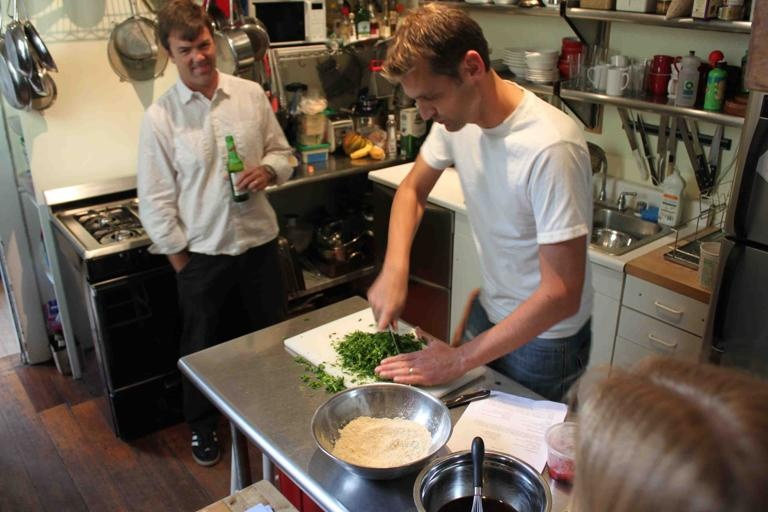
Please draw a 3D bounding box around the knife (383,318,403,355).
[{"bbox_3d":[0.044,0.312,2.106,0.027,0.010,0.190,-8,20,-8],"label":"knife"}]

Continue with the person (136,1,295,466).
[{"bbox_3d":[-0.913,-0.394,3.080,0.857,1.865,0.457,-15,28,-23],"label":"person"}]

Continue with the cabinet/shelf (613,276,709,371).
[{"bbox_3d":[1.274,0.277,2.549,0.288,0.449,0.245,-26,42,-35],"label":"cabinet/shelf"}]

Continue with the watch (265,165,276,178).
[{"bbox_3d":[-0.640,-0.478,3.161,0.015,0.060,0.060,-26,41,-5],"label":"watch"}]

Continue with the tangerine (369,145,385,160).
[{"bbox_3d":[-0.051,-0.773,4.235,0.089,0.066,0.118,-18,70,2],"label":"tangerine"}]

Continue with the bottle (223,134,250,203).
[{"bbox_3d":[-0.806,-0.478,3.030,0.097,0.366,0.182,-10,26,-13],"label":"bottle"}]

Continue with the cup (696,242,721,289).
[{"bbox_3d":[1.607,0.066,2.728,0.116,0.174,0.113,0,17,0],"label":"cup"}]

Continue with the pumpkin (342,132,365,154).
[{"bbox_3d":[-0.236,-0.861,4.255,0.114,0.130,0.108,29,36,12],"label":"pumpkin"}]

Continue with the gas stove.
[{"bbox_3d":[-1.641,-0.146,3.249,0.575,0.237,0.604,-21,52,-28],"label":"gas stove"}]

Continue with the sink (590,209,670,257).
[{"bbox_3d":[1.470,-0.107,3.421,0.330,0.171,0.410,-23,38,-29],"label":"sink"}]

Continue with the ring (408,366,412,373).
[{"bbox_3d":[0.090,0.399,1.944,0.017,0.016,0.019,-3,25,1],"label":"ring"}]

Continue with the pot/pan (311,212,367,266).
[{"bbox_3d":[-0.333,-0.113,4.351,0.447,0.316,0.243,-7,26,-7],"label":"pot/pan"}]

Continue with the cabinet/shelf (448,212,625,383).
[{"bbox_3d":[0.654,0.178,2.254,0.366,0.642,0.667,-16,29,-32],"label":"cabinet/shelf"}]

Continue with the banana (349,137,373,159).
[{"bbox_3d":[-0.176,-0.804,4.228,0.147,0.069,0.156,23,67,22],"label":"banana"}]

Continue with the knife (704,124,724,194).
[{"bbox_3d":[1.842,-0.547,3.110,0.071,0.434,0.038,17,27,36],"label":"knife"}]

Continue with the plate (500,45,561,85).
[{"bbox_3d":[0.930,-1.197,3.565,0.325,0.139,0.321,-19,30,-36],"label":"plate"}]

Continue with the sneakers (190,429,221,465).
[{"bbox_3d":[-1.058,1.099,3.284,0.099,0.114,0.267,-16,35,-28],"label":"sneakers"}]

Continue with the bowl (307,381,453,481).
[{"bbox_3d":[-0.031,0.528,1.702,0.486,0.142,0.491,-7,11,1],"label":"bowl"}]

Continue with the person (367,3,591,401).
[{"bbox_3d":[0.351,-0.113,2.048,0.840,1.493,0.783,7,27,21],"label":"person"}]

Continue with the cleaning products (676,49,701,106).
[{"bbox_3d":[1.563,-0.900,2.881,0.095,0.232,0.146,8,28,23],"label":"cleaning products"}]

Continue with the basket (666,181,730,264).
[{"bbox_3d":[1.714,-0.178,3.050,0.569,0.225,0.163,-33,40,-29],"label":"basket"}]
